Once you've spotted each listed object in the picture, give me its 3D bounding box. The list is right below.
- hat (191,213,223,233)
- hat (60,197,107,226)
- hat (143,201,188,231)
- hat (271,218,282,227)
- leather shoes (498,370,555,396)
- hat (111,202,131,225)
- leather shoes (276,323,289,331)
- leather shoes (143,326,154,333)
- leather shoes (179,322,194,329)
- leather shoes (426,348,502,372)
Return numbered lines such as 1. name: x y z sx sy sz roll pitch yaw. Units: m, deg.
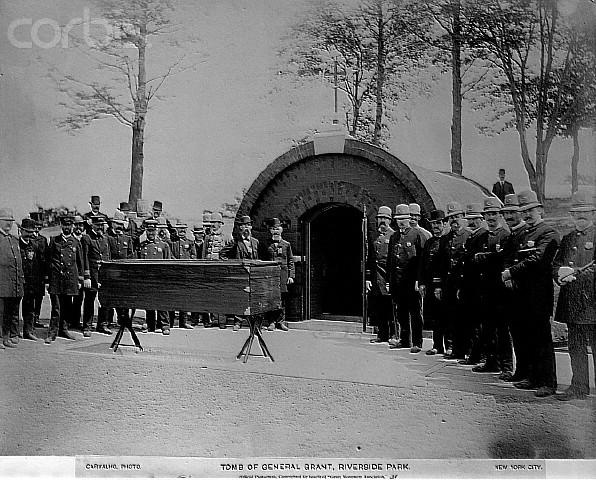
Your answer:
1. hat: -1.135 -0.246 13.583 0.310 0.192 0.385 1 -4 -3
2. hat: -2.600 -0.323 12.641 0.667 0.275 0.637 3 -1 -22
3. hat: -1.671 -0.280 12.830 0.557 0.279 0.748 4 -2 24
4. hat: -0.297 -0.258 14.462 0.121 0.100 0.110 4 -5 -31
5. leather shoes: 2.543 1.567 11.624 0.543 0.214 0.178 10 6 34
6. hat: -2.261 -0.332 13.441 0.359 0.139 0.382 -3 -25 -10
7. leather shoes: -0.197 1.147 13.810 0.059 0.109 0.217 -38 -30 18
8. leather shoes: -1.881 1.116 13.132 0.168 0.061 0.054 2 -3 18
9. leather shoes: -1.413 1.081 13.208 0.191 0.073 0.068 0 -2 5
10. leather shoes: 2.041 1.419 12.320 0.686 0.270 0.224 12 -2 27
